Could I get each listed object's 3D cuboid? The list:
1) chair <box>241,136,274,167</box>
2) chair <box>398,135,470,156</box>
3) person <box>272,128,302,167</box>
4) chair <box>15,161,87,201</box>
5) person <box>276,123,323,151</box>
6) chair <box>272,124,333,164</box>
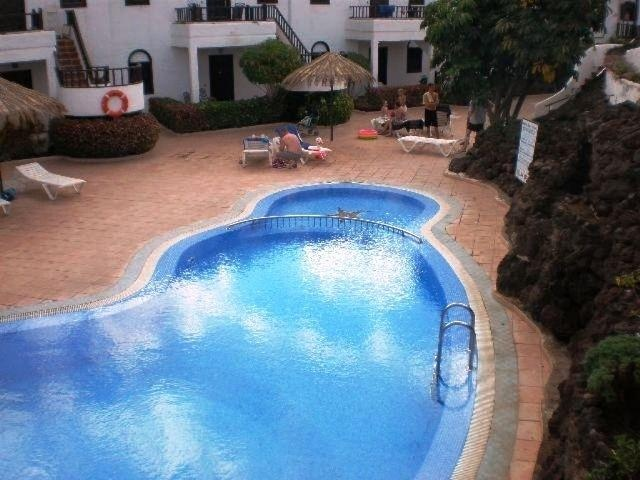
[{"bbox_3d":[-2.163,-3.102,18.113,0.799,0.636,1.436,1,27,-1],"label":"chair"},{"bbox_3d":[4.013,-3.531,19.125,1.885,0.534,1.124,9,27,23],"label":"chair"},{"bbox_3d":[-1.109,-2.999,17.442,1.017,1.053,0.861,-2,17,-1],"label":"person"},{"bbox_3d":[-7.955,-1.780,15.075,2.771,0.894,1.362,9,20,34],"label":"chair"},{"bbox_3d":[-0.808,-3.844,18.812,1.741,0.662,1.287,18,15,-1],"label":"person"},{"bbox_3d":[-1.086,-3.181,17.850,1.314,0.773,1.780,-13,31,-32],"label":"chair"}]
